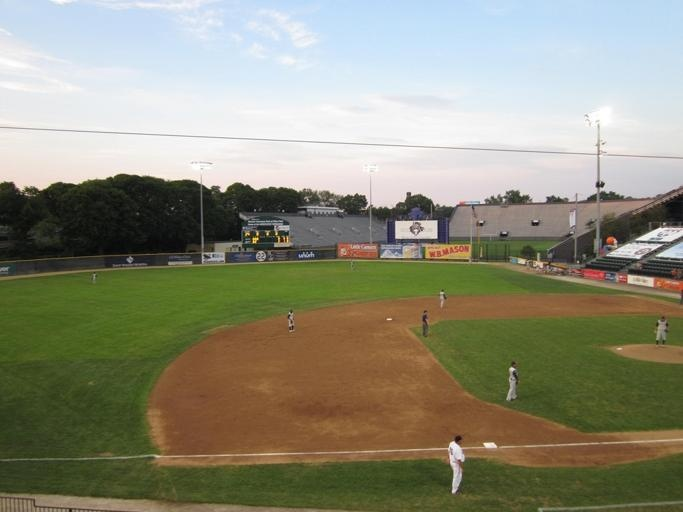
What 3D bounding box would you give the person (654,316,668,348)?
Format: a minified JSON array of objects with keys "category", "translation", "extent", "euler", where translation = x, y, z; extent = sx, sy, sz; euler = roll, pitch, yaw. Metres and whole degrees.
[{"category":"person","translation":[18.586,4.195,41.447],"extent":[0.554,1.612,1.305],"euler":[3,12,22]}]
